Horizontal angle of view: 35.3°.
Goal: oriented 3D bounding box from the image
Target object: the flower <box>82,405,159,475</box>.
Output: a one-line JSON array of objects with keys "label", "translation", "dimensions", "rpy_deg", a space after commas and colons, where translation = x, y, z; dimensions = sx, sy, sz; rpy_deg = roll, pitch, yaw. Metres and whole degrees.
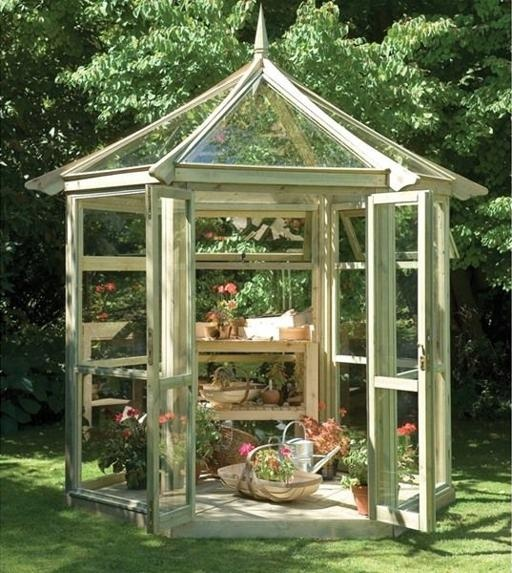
[{"label": "flower", "translation": [-1.009, 1.149, 6.279], "dimensions": [0.554, 0.340, 0.419], "rpy_deg": [6, 3, -22]}]

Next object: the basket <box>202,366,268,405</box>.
[{"label": "basket", "translation": [-0.248, 0.990, 8.044], "dimensions": [0.405, 0.276, 0.490], "rpy_deg": [-1, -2, 16]}]

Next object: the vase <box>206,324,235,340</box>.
[{"label": "vase", "translation": [-0.347, 0.460, 8.152], "dimensions": [0.207, 0.085, 0.159], "rpy_deg": [-1, -2, 13]}]

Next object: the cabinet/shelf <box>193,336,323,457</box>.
[{"label": "cabinet/shelf", "translation": [0.040, 1.059, 8.188], "dimensions": [1.184, 0.992, 1.120], "rpy_deg": [-1, -6, -3]}]

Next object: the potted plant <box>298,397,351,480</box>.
[{"label": "potted plant", "translation": [0.615, 1.367, 7.022], "dimensions": [0.711, 0.644, 0.502], "rpy_deg": [-2, 0, 4]}]

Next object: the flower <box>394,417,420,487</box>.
[{"label": "flower", "translation": [1.116, 1.223, 5.935], "dimensions": [0.084, 0.347, 0.227], "rpy_deg": [1, 0, -25]}]

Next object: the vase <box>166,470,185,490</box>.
[{"label": "vase", "translation": [-0.592, 1.417, 5.921], "dimensions": [0.164, 0.140, 0.134], "rpy_deg": [1, 3, -19]}]

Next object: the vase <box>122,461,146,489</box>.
[{"label": "vase", "translation": [-0.912, 1.413, 6.063], "dimensions": [0.211, 0.195, 0.365], "rpy_deg": [0, -29, -2]}]

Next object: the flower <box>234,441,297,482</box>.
[{"label": "flower", "translation": [0.123, 1.429, 6.583], "dimensions": [0.355, 0.208, 0.401], "rpy_deg": [4, 6, 26]}]

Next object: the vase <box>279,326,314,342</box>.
[{"label": "vase", "translation": [0.384, 0.451, 7.785], "dimensions": [0.316, 0.116, 0.133], "rpy_deg": [1, 0, 0]}]

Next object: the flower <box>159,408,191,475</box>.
[{"label": "flower", "translation": [-0.602, 1.152, 5.931], "dimensions": [0.056, 0.414, 0.250], "rpy_deg": [0, 0, 39]}]
